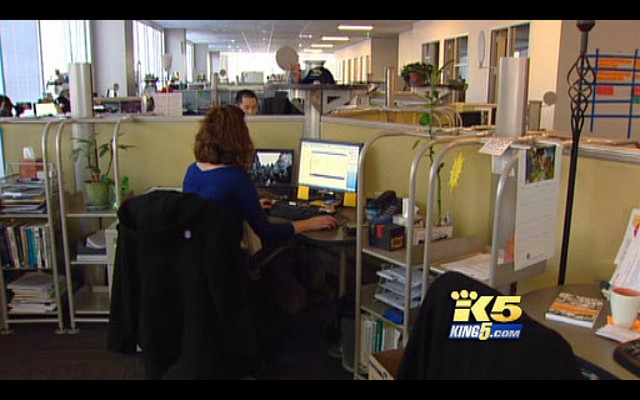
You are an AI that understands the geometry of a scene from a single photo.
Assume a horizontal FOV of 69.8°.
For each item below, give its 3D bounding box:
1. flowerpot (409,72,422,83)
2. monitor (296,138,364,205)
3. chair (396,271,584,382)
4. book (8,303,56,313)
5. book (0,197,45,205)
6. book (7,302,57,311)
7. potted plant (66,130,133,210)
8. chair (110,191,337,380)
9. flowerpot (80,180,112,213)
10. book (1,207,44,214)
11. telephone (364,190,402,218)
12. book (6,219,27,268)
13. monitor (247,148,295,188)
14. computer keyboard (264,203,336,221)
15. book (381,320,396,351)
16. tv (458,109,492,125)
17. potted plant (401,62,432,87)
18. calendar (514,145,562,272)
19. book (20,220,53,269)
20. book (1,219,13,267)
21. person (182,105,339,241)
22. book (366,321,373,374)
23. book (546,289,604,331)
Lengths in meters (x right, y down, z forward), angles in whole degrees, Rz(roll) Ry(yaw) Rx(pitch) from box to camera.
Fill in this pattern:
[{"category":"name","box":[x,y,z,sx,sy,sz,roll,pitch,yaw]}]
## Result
[{"category":"flowerpot","box":[1.022,-1.321,4.936,0.120,0.077,0.112,-3,11,-11]},{"category":"monitor","box":[0.068,-0.186,3.225,0.159,0.481,0.600,-11,17,-42]},{"category":"chair","box":[0.589,0.482,1.651,0.498,0.498,0.400,-5,12,-16]},{"category":"book","box":[-1.998,0.750,3.133,0.141,0.028,0.131,2,3,-1]},{"category":"book","box":[-2.016,0.005,3.107,0.279,0.049,0.028,-2,12,-3]},{"category":"book","box":[-1.983,0.737,3.134,0.139,0.028,0.129,1,3,0]},{"category":"potted plant","box":[-1.694,-0.184,3.385,0.385,0.530,0.494,-1,-1,1]},{"category":"chair","box":[-0.475,0.461,2.429,1.113,0.981,0.934,0,-4,-38]},{"category":"flowerpot","box":[-1.632,-0.034,3.322,0.253,0.238,0.234,1,14,-3]},{"category":"book","box":[-2.021,0.072,3.111,0.267,0.049,0.027,-1,12,2]},{"category":"telephone","box":[0.435,0.032,3.028,0.182,0.273,0.291,3,-12,9]},{"category":"book","box":[-2.074,0.310,3.132,0.058,0.298,0.306,-15,3,-25]},{"category":"monitor","box":[-0.363,-0.236,3.440,0.330,0.284,0.127,-3,12,-5]},{"category":"computer keyboard","box":[-0.150,0.079,3.049,0.435,0.056,0.261,5,13,32]},{"category":"book","box":[0.393,0.784,2.652,0.084,0.189,0.043,4,14,24]},{"category":"tv","box":[1.627,-0.858,4.744,0.270,0.154,1.373,3,11,20]},{"category":"potted plant","box":[1.063,-1.383,5.014,0.323,0.258,0.262,8,6,24]},{"category":"calendar","box":[0.958,0.029,2.019,0.351,0.567,0.010,-11,14,-34]},{"category":"book","box":[-1.926,0.325,3.196,0.097,0.283,0.223,-1,6,-8]},{"category":"book","box":[-2.163,0.305,3.154,0.060,0.228,0.240,-5,10,-23]},{"category":"person","box":[-0.523,-0.181,2.888,1.162,0.756,0.677,17,22,23]},{"category":"book","box":[0.287,0.871,2.691,0.039,0.336,0.024,0,13,6]},{"category":"book","box":[1.057,0.450,1.901,0.169,0.022,0.181,12,30,43]}]
